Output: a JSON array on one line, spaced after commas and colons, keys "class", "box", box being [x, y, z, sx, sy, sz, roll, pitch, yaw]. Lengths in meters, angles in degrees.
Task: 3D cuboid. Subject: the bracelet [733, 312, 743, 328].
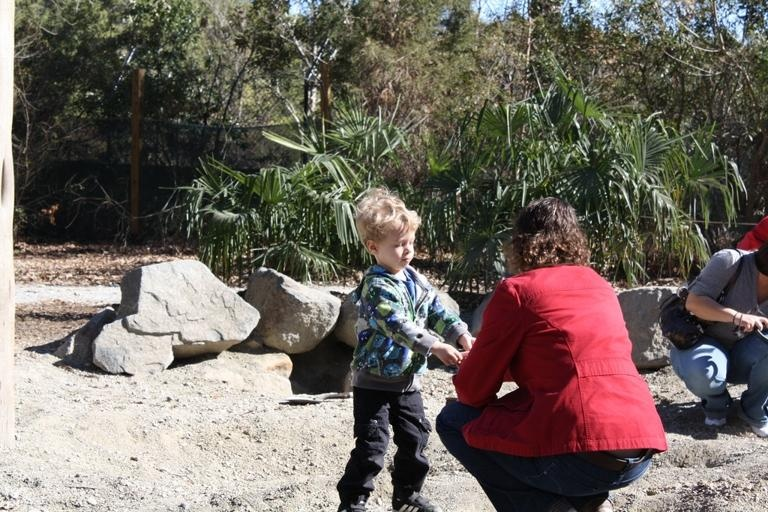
[{"class": "bracelet", "box": [3.618, 0.659, 10.071, 0.028, 0.126, 0.117, 9, 19, 5]}]
